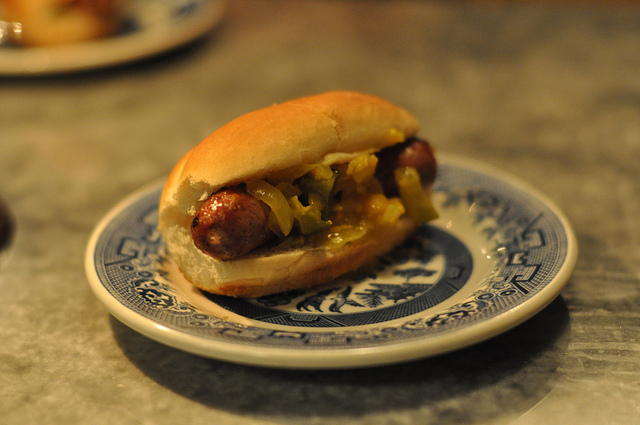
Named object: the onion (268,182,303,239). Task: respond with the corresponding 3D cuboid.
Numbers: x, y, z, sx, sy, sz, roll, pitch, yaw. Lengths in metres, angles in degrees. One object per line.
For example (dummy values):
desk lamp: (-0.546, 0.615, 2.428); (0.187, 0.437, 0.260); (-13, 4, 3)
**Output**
onion: (-0.241, -0.010, 4.465); (0.263, 0.086, 0.338); (10, 50, 32)
